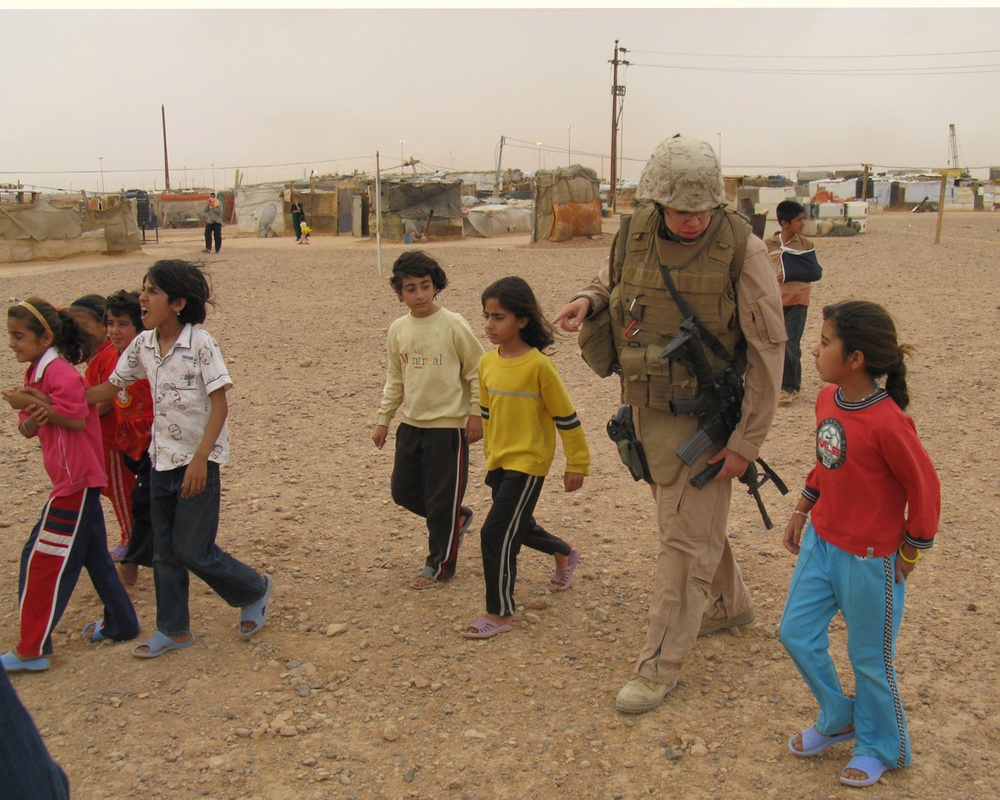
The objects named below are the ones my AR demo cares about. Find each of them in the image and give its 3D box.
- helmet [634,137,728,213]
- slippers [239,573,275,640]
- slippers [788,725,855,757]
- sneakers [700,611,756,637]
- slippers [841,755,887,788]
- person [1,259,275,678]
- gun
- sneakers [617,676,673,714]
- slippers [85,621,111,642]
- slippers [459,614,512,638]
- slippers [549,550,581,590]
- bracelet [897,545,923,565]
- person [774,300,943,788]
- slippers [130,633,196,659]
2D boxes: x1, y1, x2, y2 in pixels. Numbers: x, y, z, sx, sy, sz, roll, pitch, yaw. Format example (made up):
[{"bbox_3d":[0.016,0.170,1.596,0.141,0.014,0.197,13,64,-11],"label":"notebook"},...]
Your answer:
[{"bbox_3d":[0.728,-0.908,3.883,0.350,0.317,0.254,1,9,13],"label":"helmet"},{"bbox_3d":[-1.189,0.990,4.733,0.116,0.331,0.131,1,-5,37],"label":"slippers"},{"bbox_3d":[1.207,1.300,3.667,0.255,0.103,0.080,-18,-33,22],"label":"slippers"},{"bbox_3d":[1.057,1.046,4.596,0.281,0.128,0.096,-5,33,-10],"label":"sneakers"},{"bbox_3d":[1.321,1.341,3.489,0.190,0.060,0.074,-9,17,-10],"label":"slippers"},{"bbox_3d":[-1.490,0.240,4.648,0.642,1.810,0.558,-5,9,-23],"label":"person"},{"bbox_3d":[0.977,0.121,4.090,0.540,0.947,0.276,-7,11,-37],"label":"gun"},{"bbox_3d":[0.599,1.215,4.038,0.255,0.110,0.101,-4,11,-40],"label":"sneakers"},{"bbox_3d":[-1.974,1.132,4.721,0.044,0.072,0.123,-20,-5,4],"label":"slippers"},{"bbox_3d":[-0.081,1.078,4.656,0.225,0.086,0.097,0,5,-25],"label":"slippers"},{"bbox_3d":[0.361,0.908,5.152,0.082,0.227,0.103,14,12,-36],"label":"slippers"},{"bbox_3d":[1.491,0.552,3.498,0.060,0.075,0.042,1,1,41],"label":"bracelet"},{"bbox_3d":[1.331,0.504,3.591,0.560,1.730,0.499,5,11,36],"label":"person"},{"bbox_3d":[-1.596,1.151,4.538,0.095,0.077,0.228,3,-5,44],"label":"slippers"}]
